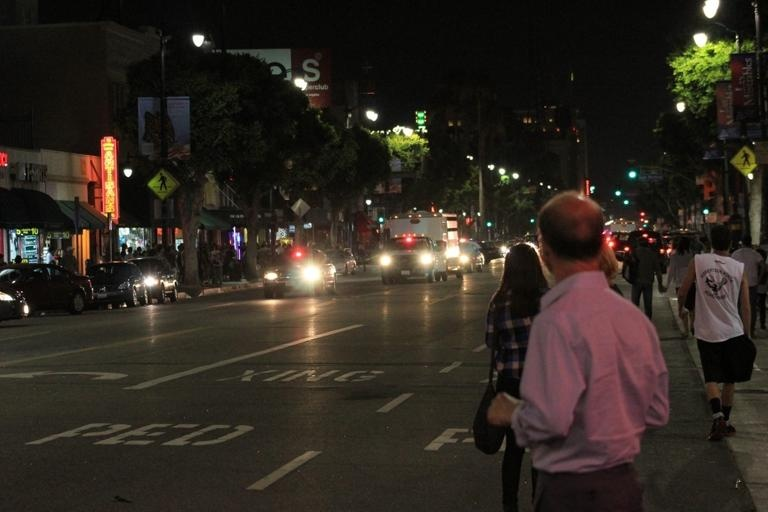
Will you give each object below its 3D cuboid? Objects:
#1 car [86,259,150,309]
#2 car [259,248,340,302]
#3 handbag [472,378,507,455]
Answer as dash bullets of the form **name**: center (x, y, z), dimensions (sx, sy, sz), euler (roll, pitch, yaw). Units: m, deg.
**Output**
- **car**: center (-10.682, 1.059, 34.427), dimensions (1.393, 1.025, 2.389), euler (-2, -8, -1)
- **car**: center (-3.571, 0.676, 36.102), dimensions (2.936, 1.932, 1.572), euler (-1, 2, -14)
- **handbag**: center (0.749, 1.117, 6.089), dimensions (0.217, 0.542, 0.208), euler (8, -10, -31)
